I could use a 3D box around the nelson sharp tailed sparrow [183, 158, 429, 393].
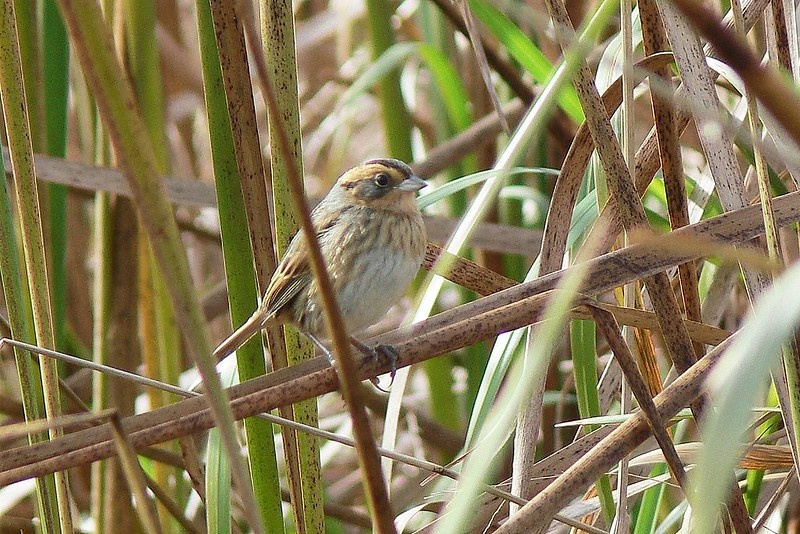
[{"bbox_3d":[-0.412,0.038,4.067,1.165,0.403,0.764,-9,-87,23],"label":"nelson sharp tailed sparrow"}]
